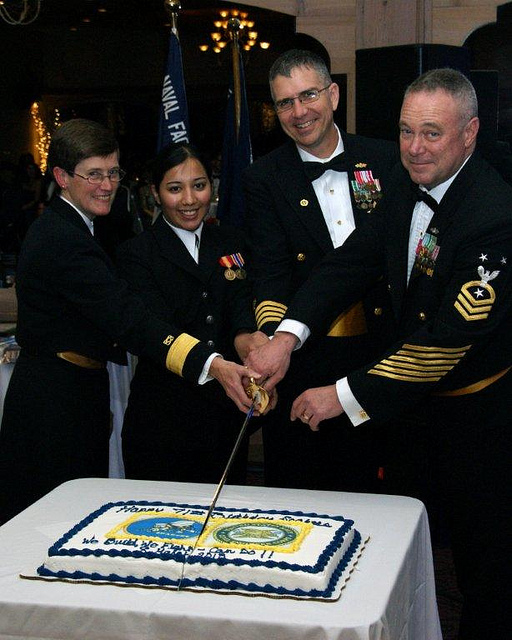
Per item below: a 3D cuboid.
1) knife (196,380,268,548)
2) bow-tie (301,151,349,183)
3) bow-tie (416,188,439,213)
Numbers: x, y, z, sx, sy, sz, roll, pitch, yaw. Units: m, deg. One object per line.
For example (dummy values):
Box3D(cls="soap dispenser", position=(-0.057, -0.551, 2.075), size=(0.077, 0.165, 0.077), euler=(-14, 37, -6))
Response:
Box3D(cls="knife", position=(-0.048, 0.399, 1.917), size=(0.053, 0.425, 0.090), euler=(21, -16, 18))
Box3D(cls="bow-tie", position=(0.257, -0.573, 2.203), size=(0.137, 0.073, 0.011), euler=(-17, 2, -1))
Box3D(cls="bow-tie", position=(0.514, -0.365, 1.788), size=(0.034, 0.087, 0.104), euler=(-1, 1, -14))
